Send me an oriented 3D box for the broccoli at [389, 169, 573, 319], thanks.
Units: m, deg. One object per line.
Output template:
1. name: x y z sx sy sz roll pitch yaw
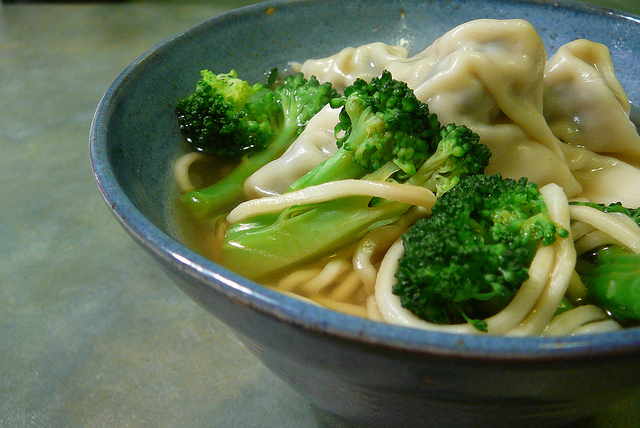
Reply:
1. broccoli: 0.442 0.072 1.443 0.477 0.398 0.232 -20 86 16

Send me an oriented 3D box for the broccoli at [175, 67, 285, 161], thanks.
1. broccoli: -0.314 -0.352 1.894 0.368 0.179 0.357 -1 41 -12

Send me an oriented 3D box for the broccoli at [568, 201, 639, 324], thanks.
1. broccoli: 0.832 0.158 1.507 0.093 0.247 0.298 7 70 -30

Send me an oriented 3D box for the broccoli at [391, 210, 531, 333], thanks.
1. broccoli: 0.372 0.148 1.407 0.349 0.268 0.342 2 63 8

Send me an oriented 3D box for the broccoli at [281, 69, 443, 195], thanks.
1. broccoli: 0.128 -0.229 1.759 0.304 0.486 0.239 28 51 -18

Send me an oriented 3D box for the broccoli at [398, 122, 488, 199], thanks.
1. broccoli: 0.387 -0.157 1.590 0.270 0.206 0.147 -22 60 14
